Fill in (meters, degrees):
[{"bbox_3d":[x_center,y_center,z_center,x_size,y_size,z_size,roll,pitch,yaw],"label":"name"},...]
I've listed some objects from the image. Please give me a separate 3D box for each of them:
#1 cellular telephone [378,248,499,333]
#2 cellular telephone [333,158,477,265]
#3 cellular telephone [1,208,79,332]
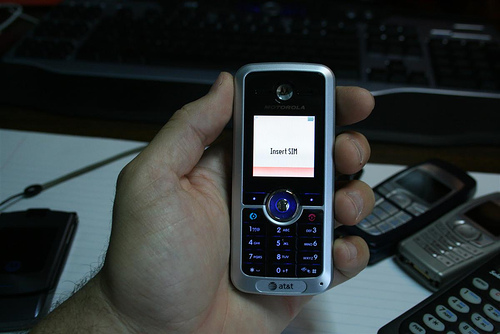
[{"bbox_3d":[0.314,0.217,0.716,0.187,0.026,0.089,-36,81,-7],"label":"cellular telephone"},{"bbox_3d":[0.273,0.074,0.799,0.268,0.065,0.129,-23,31,-21],"label":"cellular telephone"},{"bbox_3d":[-0.366,0.162,0.726,0.120,0.029,0.197,1,63,6],"label":"cellular telephone"}]
